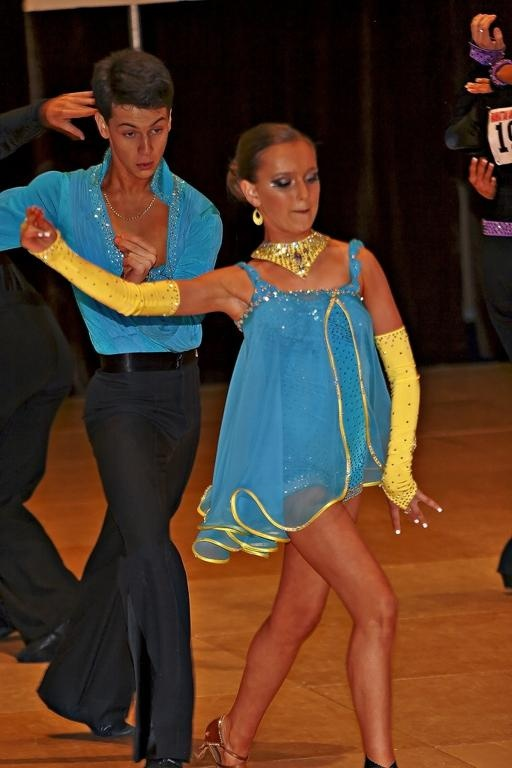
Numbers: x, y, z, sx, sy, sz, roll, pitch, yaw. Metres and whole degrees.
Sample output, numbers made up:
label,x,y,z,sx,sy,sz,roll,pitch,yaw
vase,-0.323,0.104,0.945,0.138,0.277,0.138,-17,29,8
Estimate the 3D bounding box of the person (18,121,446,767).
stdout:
label,x,y,z,sx,sy,sz,roll,pitch,yaw
person,0.058,0.190,1.526,0.607,1.483,0.658,1,10,22
